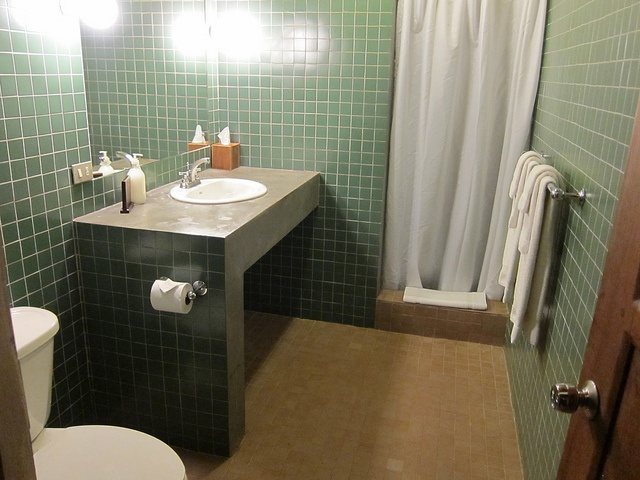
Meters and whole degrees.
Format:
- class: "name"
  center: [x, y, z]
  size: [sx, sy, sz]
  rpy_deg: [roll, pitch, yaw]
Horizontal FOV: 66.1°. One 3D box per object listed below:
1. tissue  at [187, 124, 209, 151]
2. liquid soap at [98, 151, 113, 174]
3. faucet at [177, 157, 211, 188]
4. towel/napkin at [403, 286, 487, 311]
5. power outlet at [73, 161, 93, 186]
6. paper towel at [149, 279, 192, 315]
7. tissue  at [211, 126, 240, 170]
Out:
- class: "tissue "
  center: [-0.779, -0.649, 3.171]
  size: [0.125, 0.234, 0.110]
  rpy_deg: [-5, 37, -18]
- class: "liquid soap"
  center: [-1.062, -0.388, 2.456]
  size: [0.026, 0.130, 0.110]
  rpy_deg: [5, 23, 7]
- class: "faucet"
  center: [-0.770, -0.407, 2.991]
  size: [0.137, 0.182, 0.176]
  rpy_deg: [7, 25, 6]
- class: "towel/napkin"
  center: [0.884, 0.416, 3.486]
  size: [0.412, 0.068, 0.240]
  rpy_deg: [1, 20, 13]
- class: "power outlet"
  center: [-1.119, -0.318, 2.331]
  size: [0.015, 0.096, 0.126]
  rpy_deg: [9, 25, 16]
- class: "paper towel"
  center: [-0.647, 0.259, 2.181]
  size: [0.138, 0.145, 0.122]
  rpy_deg: [-2, -2, 15]
- class: "tissue "
  center: [-0.648, -0.641, 3.411]
  size: [0.163, 0.269, 0.197]
  rpy_deg: [7, 23, 10]
